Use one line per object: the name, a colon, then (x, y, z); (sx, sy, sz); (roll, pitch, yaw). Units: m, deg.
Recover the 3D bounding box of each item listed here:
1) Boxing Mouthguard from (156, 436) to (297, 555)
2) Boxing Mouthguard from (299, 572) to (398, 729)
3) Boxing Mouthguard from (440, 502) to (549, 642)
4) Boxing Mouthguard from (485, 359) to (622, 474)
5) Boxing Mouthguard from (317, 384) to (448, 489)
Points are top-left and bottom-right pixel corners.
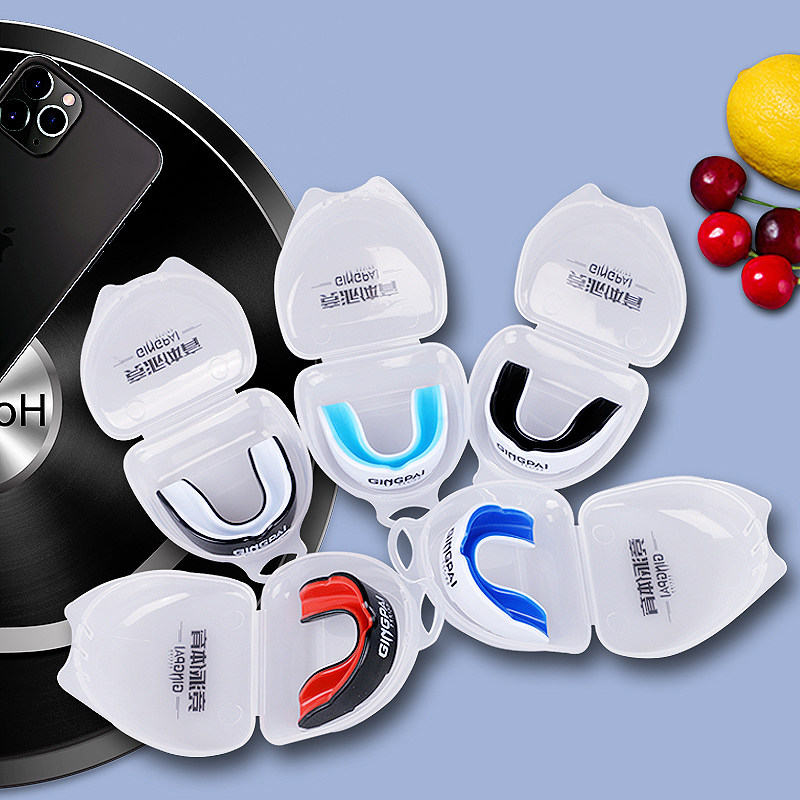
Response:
Boxing Mouthguard: (-0.207, 0.131, 1.098); (0.165, 0.043, 0.121); (-24, 74, -5)
Boxing Mouthguard: (-0.066, 0.279, 1.037); (0.127, 0.059, 0.186); (-14, 43, 8)
Boxing Mouthguard: (0.121, 0.196, 1.078); (0.119, 0.058, 0.178); (13, 49, -5)
Boxing Mouthguard: (0.186, 0.029, 1.111); (0.160, 0.027, 0.117); (20, 75, 7)
Boxing Mouthguard: (-0.017, 0.051, 1.114); (0.159, 0.046, 0.116); (-10, 73, -1)
